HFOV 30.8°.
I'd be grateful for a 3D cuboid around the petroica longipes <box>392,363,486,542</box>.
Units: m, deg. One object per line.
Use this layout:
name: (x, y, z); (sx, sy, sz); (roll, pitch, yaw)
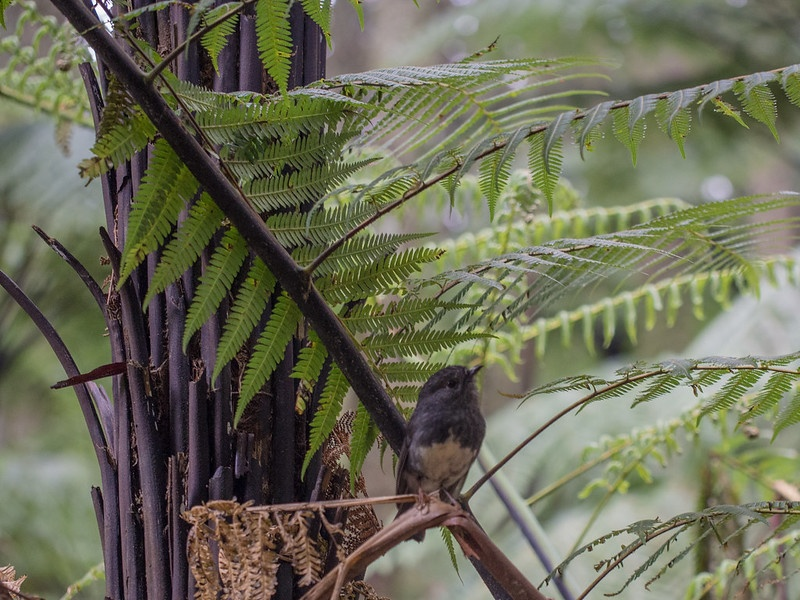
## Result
petroica longipes: (0.146, 0.620, 6.242); (0.287, 0.610, 0.735); (12, -21, -24)
